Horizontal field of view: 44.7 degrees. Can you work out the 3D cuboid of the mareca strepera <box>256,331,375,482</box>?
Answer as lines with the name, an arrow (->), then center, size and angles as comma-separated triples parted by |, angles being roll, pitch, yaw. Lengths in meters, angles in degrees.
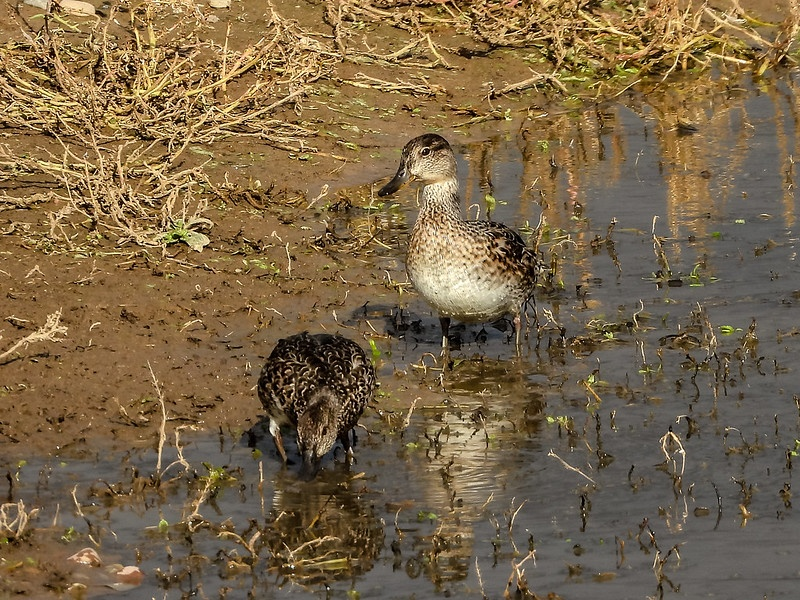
mareca strepera -> -0.612, 0.724, 7.134 | 0.878, 1.048, 0.623 | -2, -50, -4
